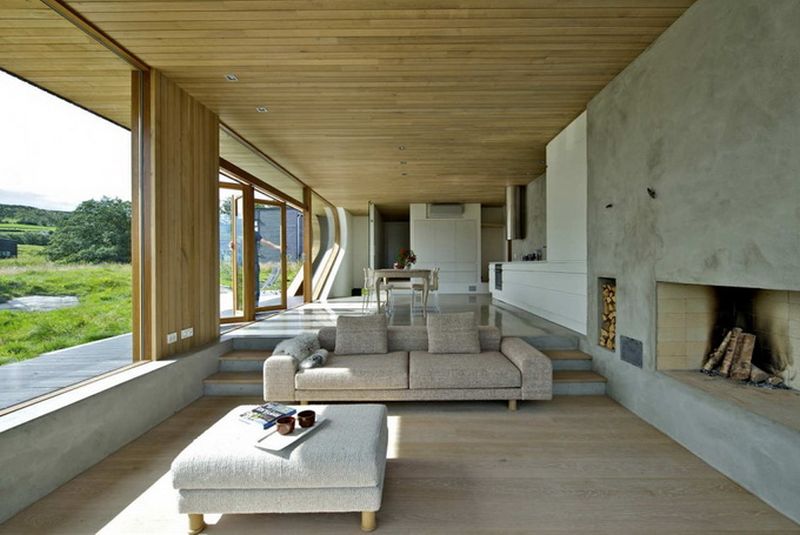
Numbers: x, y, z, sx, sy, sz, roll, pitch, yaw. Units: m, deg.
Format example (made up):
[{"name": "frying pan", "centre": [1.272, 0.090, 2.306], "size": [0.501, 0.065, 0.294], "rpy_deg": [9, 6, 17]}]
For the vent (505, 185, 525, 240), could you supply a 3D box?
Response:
[{"name": "vent", "centre": [2.410, -1.144, 10.606], "size": [0.425, 1.104, 0.324], "rpy_deg": [0, 3, 19]}]

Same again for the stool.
[{"name": "stool", "centre": [-0.887, 1.534, 4.286], "size": [1.261, 0.384, 1.025], "rpy_deg": [-1, -3, -1]}]

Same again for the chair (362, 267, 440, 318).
[{"name": "chair", "centre": [0.059, 0.407, 9.233], "size": [1.075, 0.654, 1.197], "rpy_deg": [1, 2, 4]}]

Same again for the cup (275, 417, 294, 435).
[{"name": "cup", "centre": [-0.898, 1.236, 4.030], "size": [0.138, 0.079, 0.134], "rpy_deg": [0, -5, 0]}]

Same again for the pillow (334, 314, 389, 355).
[{"name": "pillow", "centre": [-0.422, 0.804, 5.999], "size": [0.561, 0.442, 0.211], "rpy_deg": [0, -13, 4]}]

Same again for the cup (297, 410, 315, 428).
[{"name": "cup", "centre": [-0.737, 1.202, 4.120], "size": [0.143, 0.076, 0.130], "rpy_deg": [-2, 2, -20]}]

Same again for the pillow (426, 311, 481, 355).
[{"name": "pillow", "centre": [0.620, 0.770, 5.931], "size": [0.593, 0.450, 0.208], "rpy_deg": [-1, -20, 1]}]

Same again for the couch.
[{"name": "couch", "centre": [0.131, 1.112, 5.650], "size": [2.877, 0.691, 0.731], "rpy_deg": [0, 3, 1]}]
